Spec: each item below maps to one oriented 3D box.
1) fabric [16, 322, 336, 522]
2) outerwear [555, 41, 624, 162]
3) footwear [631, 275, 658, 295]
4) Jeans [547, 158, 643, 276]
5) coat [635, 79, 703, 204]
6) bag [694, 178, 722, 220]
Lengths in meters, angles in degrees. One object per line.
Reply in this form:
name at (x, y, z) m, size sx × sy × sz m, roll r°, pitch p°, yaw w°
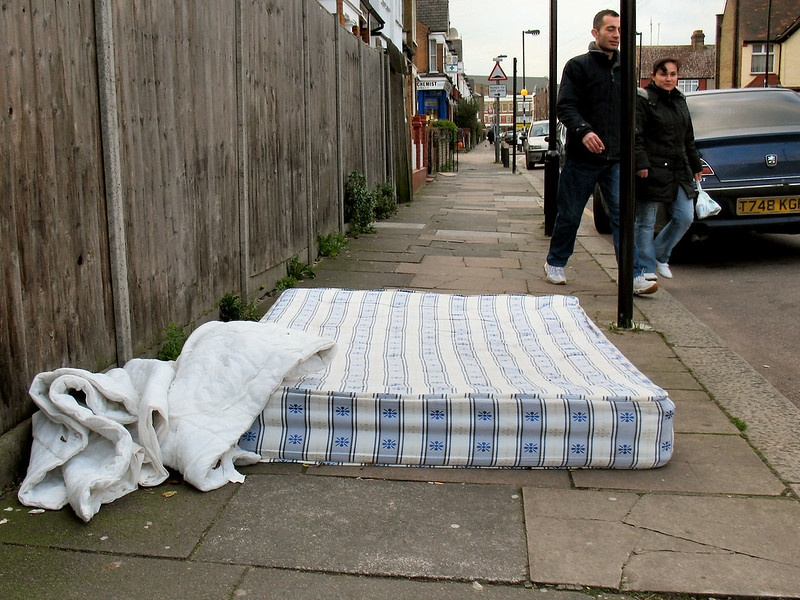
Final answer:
fabric at (-1.235, 0.565, 4.327) m, size 0.772 × 0.350 × 1.084 m, roll 4°, pitch 16°, yaw 16°
outerwear at (1.730, -1.751, 7.569) m, size 0.601 × 1.007 × 0.594 m, roll -2°, pitch 18°, yaw 3°
footwear at (2.225, -0.134, 7.640) m, size 0.337 × 0.180 × 0.142 m, roll 0°, pitch 20°, yaw 28°
Jeans at (1.845, -0.926, 7.928) m, size 0.818 × 1.395 × 0.387 m, roll 3°, pitch 30°, yaw 11°
coat at (2.314, -1.394, 7.458) m, size 0.736 × 1.005 × 0.376 m, roll -13°, pitch 21°, yaw -27°
bag at (2.849, -0.974, 7.777) m, size 0.194 × 0.358 × 0.186 m, roll -11°, pitch 39°, yaw 33°
